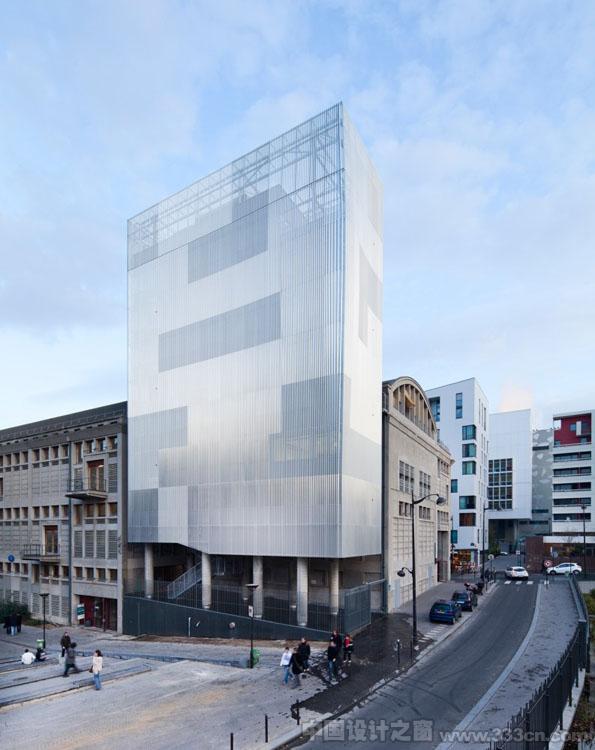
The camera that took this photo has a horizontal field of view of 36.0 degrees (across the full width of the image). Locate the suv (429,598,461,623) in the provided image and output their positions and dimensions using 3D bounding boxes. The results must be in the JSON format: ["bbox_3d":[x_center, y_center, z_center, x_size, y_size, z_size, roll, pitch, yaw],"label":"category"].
[{"bbox_3d":[8.644,14.231,54.825,1.517,1.289,2.108,-7,-12,25],"label":"suv"}]

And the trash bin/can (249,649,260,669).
[{"bbox_3d":[-2.090,13.395,43.197,0.403,0.812,0.729,-8,-11,35],"label":"trash bin/can"}]

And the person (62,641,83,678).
[{"bbox_3d":[-10.668,13.432,43.405,0.768,1.437,3.226,0,-12,-15],"label":"person"}]

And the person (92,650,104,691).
[{"bbox_3d":[-8.861,13.072,40.696,0.424,1.663,2.322,0,-11,-13],"label":"person"}]

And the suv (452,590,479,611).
[{"bbox_3d":[11.111,15.097,61.294,0.998,1.077,2.259,-11,-14,16],"label":"suv"}]
